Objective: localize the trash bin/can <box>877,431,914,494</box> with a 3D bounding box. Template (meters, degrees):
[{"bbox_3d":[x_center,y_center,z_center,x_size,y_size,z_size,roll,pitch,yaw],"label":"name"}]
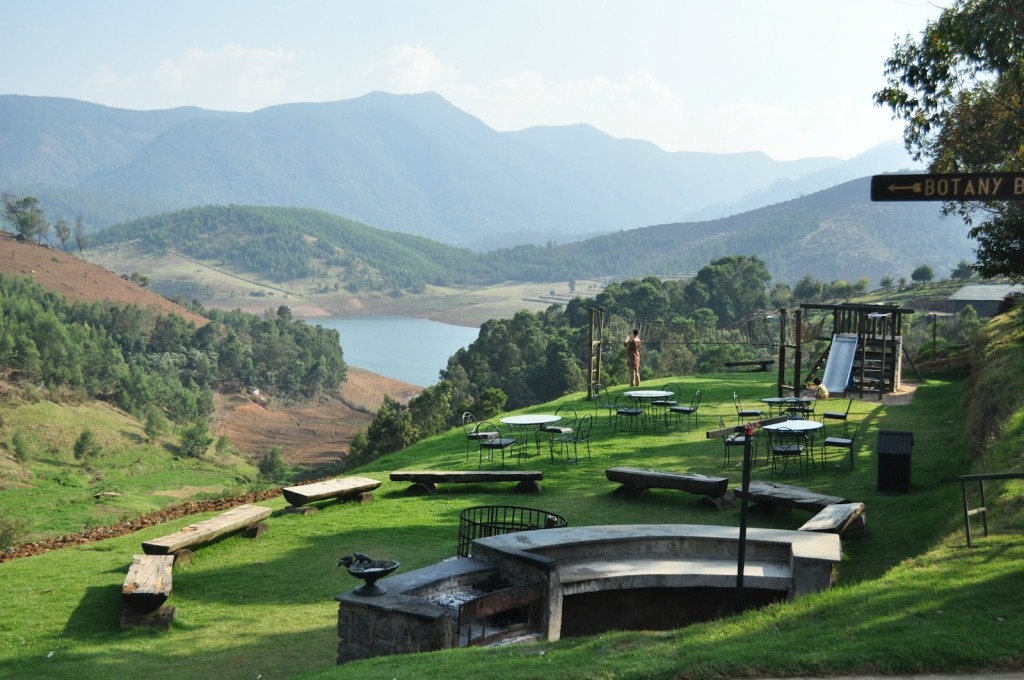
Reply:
[{"bbox_3d":[11.100,3.499,29.887,0.931,1.714,0.386,0,-3,13],"label":"trash bin/can"}]
